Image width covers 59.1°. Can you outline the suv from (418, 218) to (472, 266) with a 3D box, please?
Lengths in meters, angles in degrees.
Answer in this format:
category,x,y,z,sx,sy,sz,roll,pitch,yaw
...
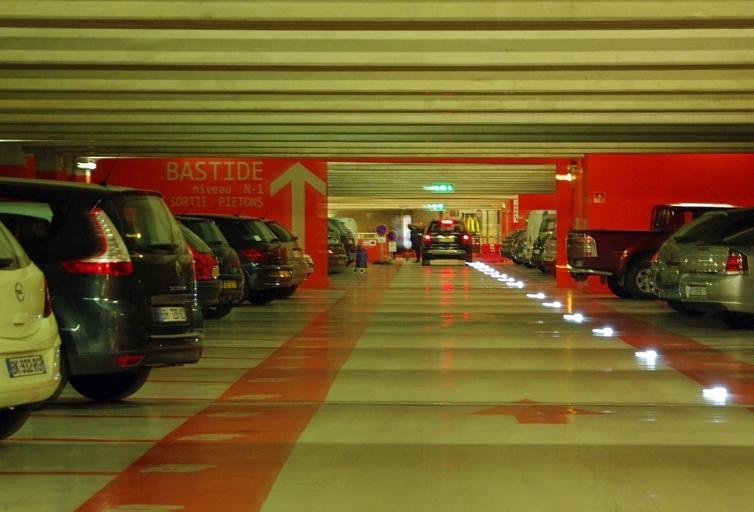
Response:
category,x,y,z,sx,sy,sz,roll,pitch,yaw
suv,4.111,-0.748,40.270,3.376,2.547,6.128,0,6,7
